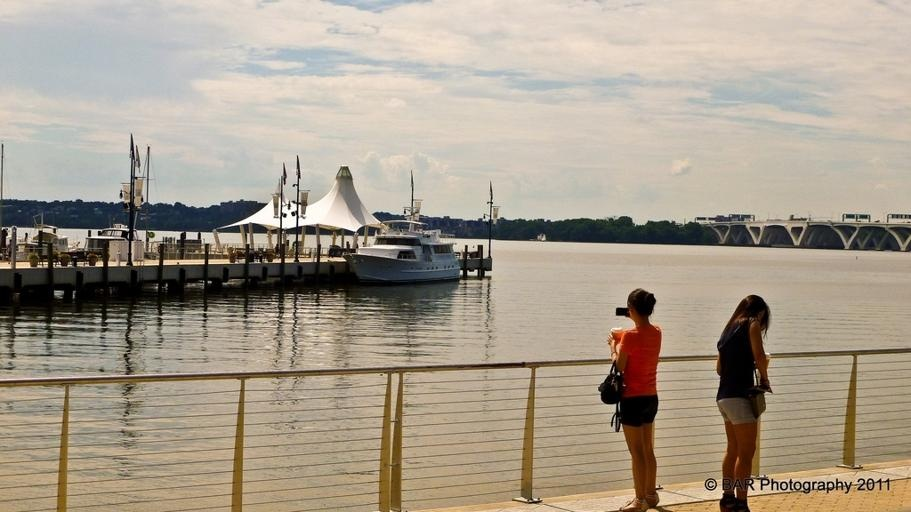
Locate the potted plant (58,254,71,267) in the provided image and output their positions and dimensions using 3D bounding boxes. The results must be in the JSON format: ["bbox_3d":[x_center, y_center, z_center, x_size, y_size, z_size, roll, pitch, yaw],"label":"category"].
[{"bbox_3d":[-22.740,0.203,77.846,0.938,0.558,0.749,3,-1,-4],"label":"potted plant"}]

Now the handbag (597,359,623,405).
[{"bbox_3d":[5.325,4.375,46.140,0.852,1.435,0.515,0,2,5],"label":"handbag"}]

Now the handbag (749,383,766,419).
[{"bbox_3d":[10.313,4.997,46.044,0.509,1.157,0.239,0,2,9],"label":"handbag"}]

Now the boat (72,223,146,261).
[{"bbox_3d":[-21.552,-0.849,84.308,3.520,1.574,5.054,0,-1,-4],"label":"boat"}]
